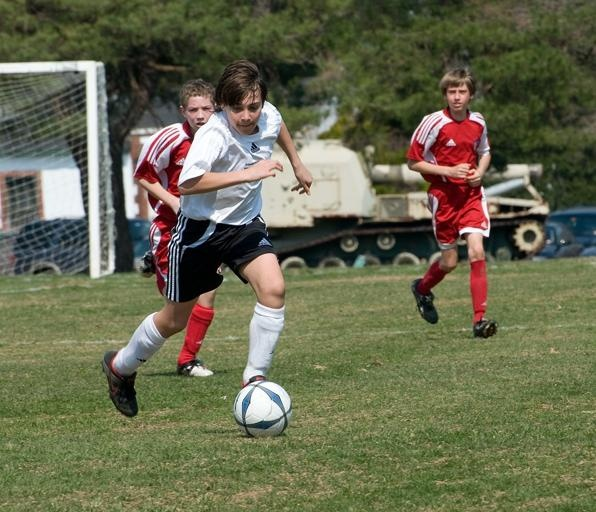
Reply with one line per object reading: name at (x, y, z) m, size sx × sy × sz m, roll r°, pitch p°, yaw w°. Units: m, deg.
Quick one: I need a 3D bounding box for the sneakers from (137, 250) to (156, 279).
sneakers at (-1.289, 0.069, 9.932) m, size 0.101 × 0.168 × 0.251 m, roll 7°, pitch -14°, yaw -9°

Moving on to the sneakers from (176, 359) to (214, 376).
sneakers at (-0.892, 0.966, 9.943) m, size 0.266 × 0.093 × 0.133 m, roll -5°, pitch -5°, yaw 35°

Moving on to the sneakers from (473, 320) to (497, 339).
sneakers at (1.687, 0.660, 10.489) m, size 0.208 × 0.180 × 0.197 m, roll -4°, pitch 9°, yaw 7°

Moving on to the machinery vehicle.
machinery vehicle at (1.198, -1.366, 26.778) m, size 8.160 × 2.767 × 3.700 m, roll -2°, pitch 4°, yaw -4°

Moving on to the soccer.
soccer at (-0.247, 1.125, 8.522) m, size 0.414 × 0.370 × 0.391 m, roll -21°, pitch -15°, yaw 10°

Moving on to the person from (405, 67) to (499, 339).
person at (1.512, -0.499, 10.879) m, size 0.764 × 2.498 × 1.218 m, roll -9°, pitch 10°, yaw -21°
